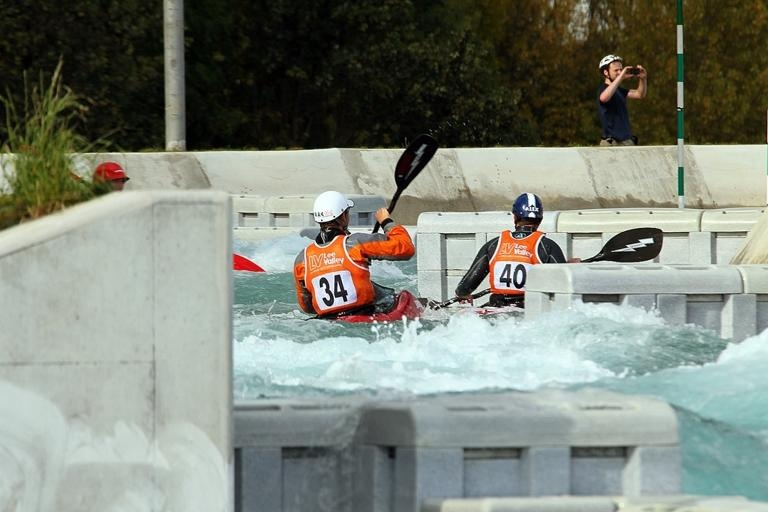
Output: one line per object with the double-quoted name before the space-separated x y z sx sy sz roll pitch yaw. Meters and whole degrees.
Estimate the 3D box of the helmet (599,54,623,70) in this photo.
"helmet" 5.271 -4.424 41.511 0.419 0.303 0.303 -1 4 17

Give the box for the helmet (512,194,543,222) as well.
"helmet" 3.065 -0.997 36.701 0.471 0.534 0.611 1 8 3

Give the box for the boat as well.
"boat" 0.761 1.020 36.083 2.422 0.434 0.421 -5 6 -18

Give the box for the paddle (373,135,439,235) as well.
"paddle" 0.499 -1.149 39.273 0.557 3.907 0.278 19 43 -10
